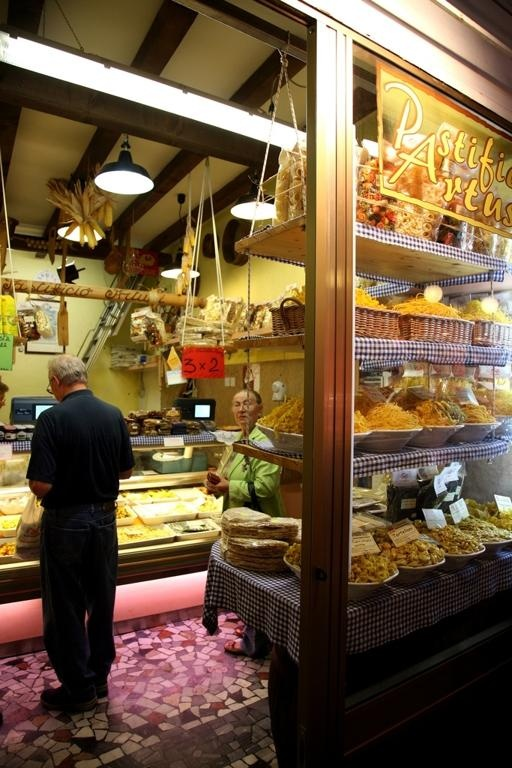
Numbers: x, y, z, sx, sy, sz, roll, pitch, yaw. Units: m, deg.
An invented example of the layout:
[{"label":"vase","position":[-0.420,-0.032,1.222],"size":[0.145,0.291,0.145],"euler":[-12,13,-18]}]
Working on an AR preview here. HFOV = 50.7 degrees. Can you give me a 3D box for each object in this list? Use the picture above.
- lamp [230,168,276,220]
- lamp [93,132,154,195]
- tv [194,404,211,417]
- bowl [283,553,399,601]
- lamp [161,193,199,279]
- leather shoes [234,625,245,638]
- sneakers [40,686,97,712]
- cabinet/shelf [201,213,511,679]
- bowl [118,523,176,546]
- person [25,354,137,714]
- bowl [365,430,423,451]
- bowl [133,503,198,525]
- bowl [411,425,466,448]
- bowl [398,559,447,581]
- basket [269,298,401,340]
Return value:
[{"label":"lamp","position":[0.001,-1.385,3.920],"size":[0.231,0.231,0.220],"euler":[-16,-21,32]},{"label":"lamp","position":[-0.870,-1.431,3.585],"size":[0.362,0.212,0.399],"euler":[0,-1,-21]},{"label":"tv","position":[-0.418,0.209,4.233],"size":[0.107,0.098,0.025],"euler":[2,-1,-25]},{"label":"bowl","position":[0.255,0.541,1.509],"size":[0.216,0.051,0.223],"euler":[3,-9,0]},{"label":"lamp","position":[-0.842,-1.690,6.129],"size":[0.500,0.804,0.484],"euler":[6,13,19]},{"label":"leather shoes","position":[-0.100,1.506,3.301],"size":[0.040,0.085,0.119],"euler":[2,-41,5]},{"label":"sneakers","position":[-0.874,1.475,2.558],"size":[0.237,0.101,0.098],"euler":[9,-6,3]},{"label":"cabinet/shelf","position":[0.438,0.237,1.989],"size":[1.090,1.453,0.795],"euler":[0,-1,-26]},{"label":"bowl","position":[-0.721,0.982,3.507],"size":[0.248,0.041,0.162],"euler":[-1,6,-26]},{"label":"person","position":[-0.843,0.687,2.625],"size":[0.542,1.656,0.329],"euler":[1,-1,-32]},{"label":"bowl","position":[0.420,0.176,1.686],"size":[0.203,0.071,0.082],"euler":[0,-1,-30]},{"label":"bowl","position":[-0.633,0.901,3.807],"size":[0.261,0.044,0.174],"euler":[-1,7,-29]},{"label":"bowl","position":[0.617,0.180,1.853],"size":[0.109,0.039,0.107],"euler":[-4,-4,0]},{"label":"bowl","position":[0.530,0.604,1.740],"size":[0.099,0.032,0.101],"euler":[-2,-9,0]},{"label":"basket","position":[0.298,-0.196,1.723],"size":[0.262,0.094,0.195],"euler":[1,0,-34]}]
